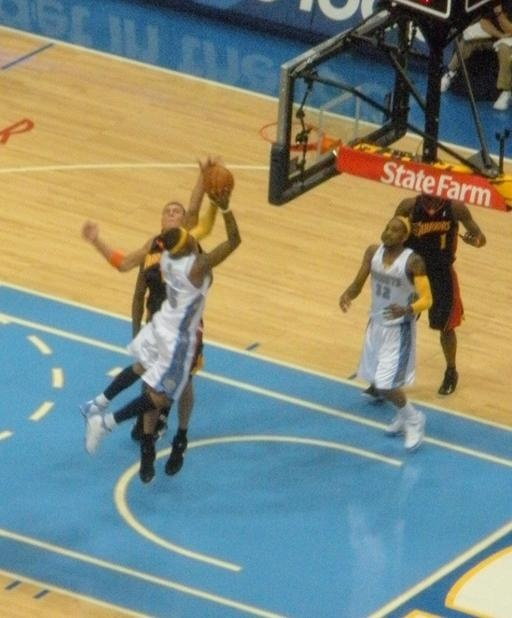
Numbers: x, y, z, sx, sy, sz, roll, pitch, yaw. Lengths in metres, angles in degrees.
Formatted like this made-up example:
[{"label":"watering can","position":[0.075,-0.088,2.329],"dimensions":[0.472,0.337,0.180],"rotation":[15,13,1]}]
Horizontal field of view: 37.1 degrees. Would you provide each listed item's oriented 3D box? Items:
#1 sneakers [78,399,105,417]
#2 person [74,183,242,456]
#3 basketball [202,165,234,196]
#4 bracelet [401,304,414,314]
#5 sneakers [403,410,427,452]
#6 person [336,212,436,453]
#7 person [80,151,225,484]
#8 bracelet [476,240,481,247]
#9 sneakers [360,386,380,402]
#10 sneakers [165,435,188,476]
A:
[{"label":"sneakers","position":[-1.056,0.642,4.942],"dimensions":[0.163,0.086,0.074],"rotation":[6,-2,-4]},{"label":"person","position":[-0.596,0.113,4.688],"dimensions":[0.756,1.714,0.484],"rotation":[14,15,34]},{"label":"basketball","position":[-0.228,-0.760,4.458],"dimensions":[0.197,0.128,0.228],"rotation":[6,29,-1]},{"label":"bracelet","position":[0.960,-0.004,4.962],"dimensions":[0.081,0.056,0.078],"rotation":[-13,4,-17]},{"label":"sneakers","position":[1.133,0.860,5.448],"dimensions":[0.151,0.308,0.112],"rotation":[25,-16,-32]},{"label":"person","position":[0.947,0.180,5.286],"dimensions":[0.653,1.645,0.646],"rotation":[3,13,-15]},{"label":"person","position":[-0.676,0.121,4.711],"dimensions":[1.013,1.813,0.814],"rotation":[-5,18,-29]},{"label":"bracelet","position":[1.605,-0.493,5.567],"dimensions":[0.010,0.038,0.029],"rotation":[12,-19,1]},{"label":"sneakers","position":[0.905,0.681,6.111],"dimensions":[0.074,0.088,0.130],"rotation":[24,36,-44]},{"label":"sneakers","position":[-0.540,0.996,5.160],"dimensions":[0.103,0.267,0.182],"rotation":[15,-31,4]}]
